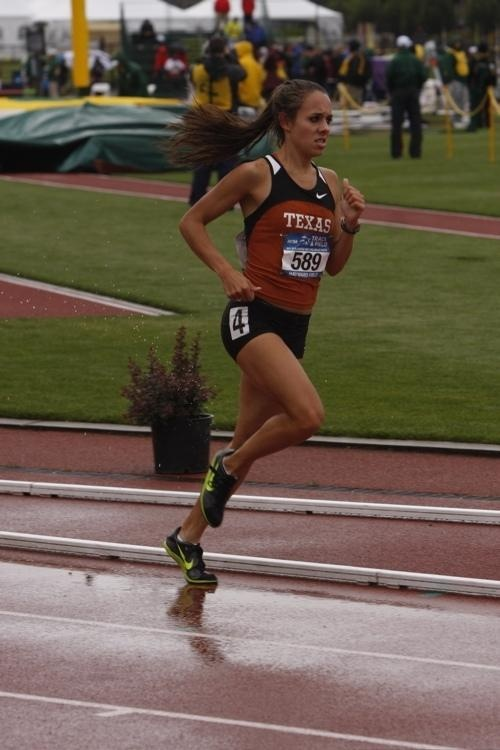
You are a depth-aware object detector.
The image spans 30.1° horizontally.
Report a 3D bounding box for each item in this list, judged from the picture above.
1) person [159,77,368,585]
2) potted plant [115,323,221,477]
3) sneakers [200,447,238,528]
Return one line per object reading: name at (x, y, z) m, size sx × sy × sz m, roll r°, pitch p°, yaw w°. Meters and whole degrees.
person at (0.022, -0.126, 3.463) m, size 0.671 × 1.912 × 0.567 m, roll 3°, pitch 4°, yaw 35°
potted plant at (-0.593, 0.161, 6.227) m, size 0.633 × 0.757 × 0.522 m, roll -15°, pitch 18°, yaw -28°
sneakers at (-0.098, 0.413, 3.547) m, size 0.159 × 0.310 × 0.112 m, roll 4°, pitch 2°, yaw 31°
